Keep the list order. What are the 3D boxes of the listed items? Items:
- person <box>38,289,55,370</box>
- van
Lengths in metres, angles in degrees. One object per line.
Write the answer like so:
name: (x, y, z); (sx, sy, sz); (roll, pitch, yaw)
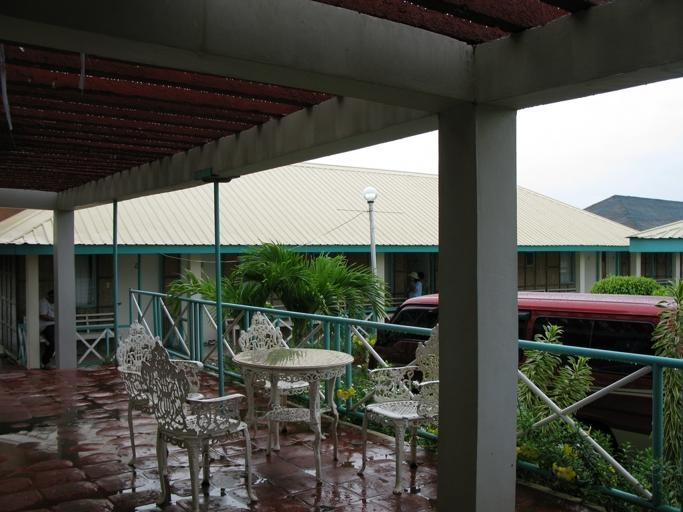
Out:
person: (-5.787, 1.513, 10.757); (0.269, 1.350, 0.602); (2, -2, -30)
van: (1.821, 1.104, 5.888); (2.572, 1.272, 1.364); (5, 1, 37)
